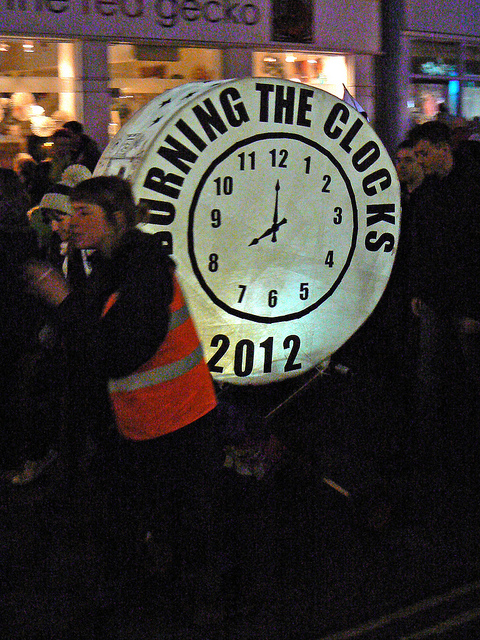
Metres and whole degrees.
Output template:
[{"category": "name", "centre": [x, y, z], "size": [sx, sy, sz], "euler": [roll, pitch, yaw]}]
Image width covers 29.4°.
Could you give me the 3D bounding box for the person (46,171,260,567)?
[{"category": "person", "centre": [-0.326, 0.154, 3.431], "size": [0.657, 1.424, 0.758], "euler": [-4, 12, -17]}]

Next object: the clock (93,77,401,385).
[{"category": "clock", "centre": [-0.030, -0.412, 3.699], "size": [0.912, 1.293, 1.098], "euler": [-6, 19, -26]}]

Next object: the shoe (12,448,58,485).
[{"category": "shoe", "centre": [-0.957, 0.664, 4.245], "size": [0.179, 0.103, 0.188], "euler": [-12, 19, -27]}]
